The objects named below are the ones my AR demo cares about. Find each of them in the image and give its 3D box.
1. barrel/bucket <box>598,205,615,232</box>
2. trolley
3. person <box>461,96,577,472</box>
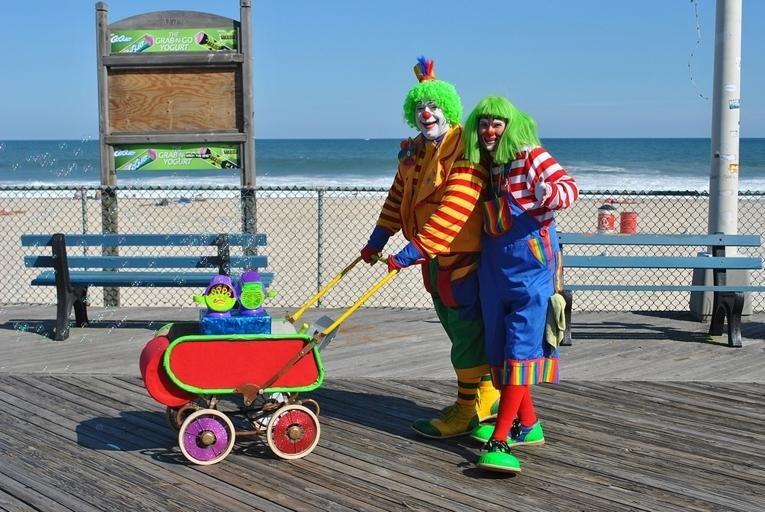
[{"bbox_3d":[2.259,-0.374,10.958,0.152,0.271,0.503,0,7,10],"label":"barrel/bucket"},{"bbox_3d":[-0.871,0.807,8.614,2.096,1.315,1.116,-1,5,-19],"label":"trolley"},{"bbox_3d":[1.020,0.227,8.054,0.803,2.788,0.536,-1,8,2],"label":"person"}]
